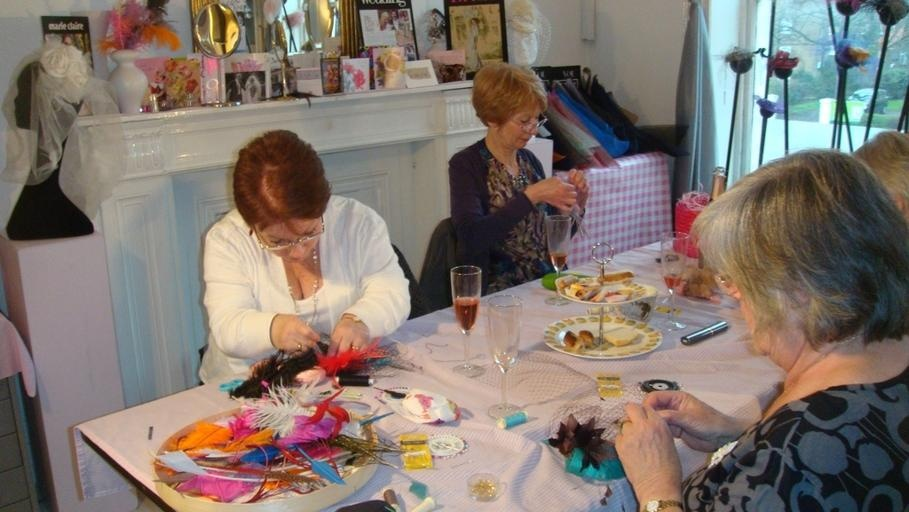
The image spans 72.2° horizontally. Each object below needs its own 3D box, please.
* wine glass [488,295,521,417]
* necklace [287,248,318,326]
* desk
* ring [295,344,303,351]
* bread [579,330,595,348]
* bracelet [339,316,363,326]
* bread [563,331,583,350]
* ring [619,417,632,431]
[{"bbox_3d":[0.170,0.314,2.130,0.131,0.373,0.361,-5,11,6],"label":"wine glass"},{"bbox_3d":[-0.596,0.114,2.461,0.163,0.266,0.069,-6,-10,-12],"label":"necklace"},{"bbox_3d":[1.144,-0.466,5.009,0.997,0.629,0.581,-5,10,-31],"label":"desk"},{"bbox_3d":[-0.557,0.328,2.238,0.023,0.022,0.005,1,-25,12],"label":"ring"},{"bbox_3d":[0.484,0.303,2.346,0.054,0.034,0.065,-27,46,-34],"label":"bread"},{"bbox_3d":[-0.392,0.240,2.341,0.039,0.027,0.039,1,14,8],"label":"bracelet"},{"bbox_3d":[0.433,0.314,2.305,0.068,0.060,0.062,34,27,32],"label":"bread"},{"bbox_3d":[0.504,0.498,1.854,0.035,0.026,0.034,-14,34,10],"label":"ring"}]
